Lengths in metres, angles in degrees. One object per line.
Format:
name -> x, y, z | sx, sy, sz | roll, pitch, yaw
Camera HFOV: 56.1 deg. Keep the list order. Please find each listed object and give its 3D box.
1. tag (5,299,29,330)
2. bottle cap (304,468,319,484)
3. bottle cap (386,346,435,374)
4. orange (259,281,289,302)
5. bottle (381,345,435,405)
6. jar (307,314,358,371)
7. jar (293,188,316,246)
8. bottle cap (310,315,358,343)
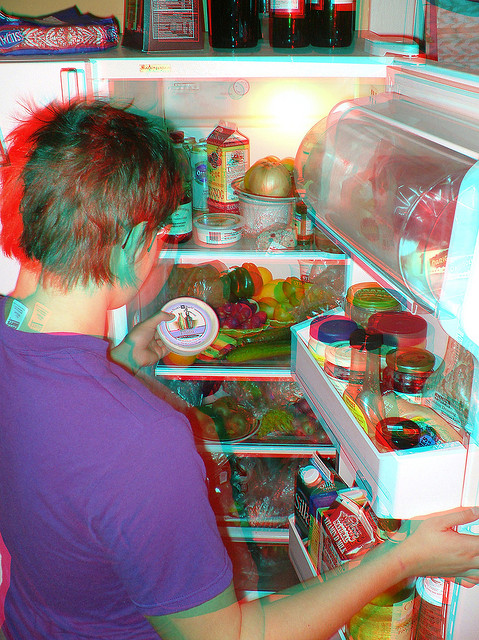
tag -> -0.250, -0.004, 0.510 | 0.027, 0.027, 0.015 | 13, 26, 34
bottle cap -> 0.193, 0.420, 1.208 | 0.036, 0.008, 0.056 | 10, 24, 27
bottle cap -> 0.266, 0.064, 0.706 | 0.062, 0.029, 0.078 | -1, 21, 2
orange -> 0.123, -0.100, 1.611 | 0.075, 0.077, 0.092 | 2, 62, -3
bottle -> 0.250, 0.082, 0.705 | 0.079, 0.073, 0.080 | 0, 21, 1
jar -> 0.202, 0.057, 0.957 | 0.118, 0.085, 0.120 | 0, 15, 0
jar -> 0.187, -0.310, 1.368 | 0.046, 0.158, 0.089 | -14, 24, -30
bottle cap -> 0.200, 0.023, 0.947 | 0.062, 0.016, 0.066 | -1, 32, 6
